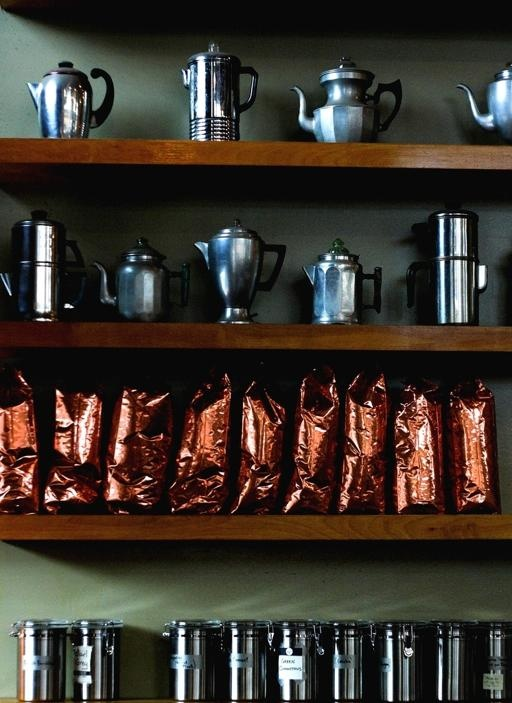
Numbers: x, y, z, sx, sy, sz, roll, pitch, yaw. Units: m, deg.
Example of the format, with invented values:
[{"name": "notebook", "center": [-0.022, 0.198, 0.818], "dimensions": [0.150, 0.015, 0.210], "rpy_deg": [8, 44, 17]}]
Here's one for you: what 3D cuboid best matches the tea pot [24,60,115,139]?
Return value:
[{"name": "tea pot", "center": [-0.372, -0.484, 1.651], "dimensions": [0.150, 0.189, 0.134], "rpy_deg": [4, -11, -34]}]
